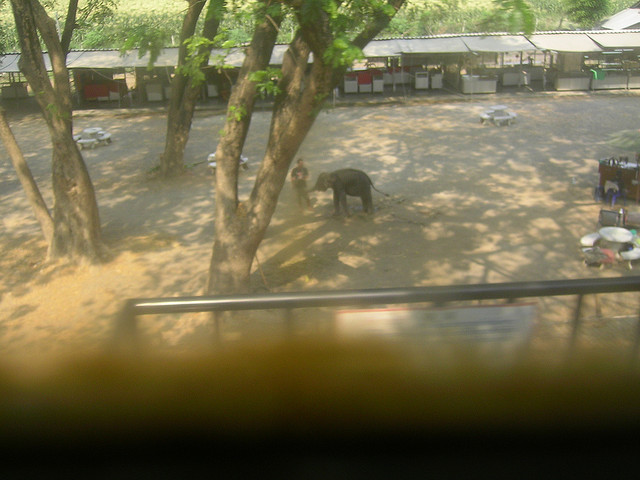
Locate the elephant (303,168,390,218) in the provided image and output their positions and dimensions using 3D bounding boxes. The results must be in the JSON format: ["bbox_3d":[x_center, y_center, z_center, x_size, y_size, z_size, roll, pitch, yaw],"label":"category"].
[{"bbox_3d":[0.737,-1.256,15.342,2.271,1.155,0.604,1,6,22],"label":"elephant"}]

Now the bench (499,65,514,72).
[{"bbox_3d":[12.049,-11.250,37.724,0.898,0.315,5.181,6,20,16],"label":"bench"}]

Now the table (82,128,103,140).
[{"bbox_3d":[-9.511,-4.581,24.375,0.905,0.368,0.614,0,20,-3],"label":"table"}]

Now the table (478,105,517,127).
[{"bbox_3d":[7.745,-5.491,25.579,1.528,0.624,1.406,2,25,8],"label":"table"}]

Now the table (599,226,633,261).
[{"bbox_3d":[6.275,0.035,12.464,0.637,0.542,1.357,11,22,27],"label":"table"}]
